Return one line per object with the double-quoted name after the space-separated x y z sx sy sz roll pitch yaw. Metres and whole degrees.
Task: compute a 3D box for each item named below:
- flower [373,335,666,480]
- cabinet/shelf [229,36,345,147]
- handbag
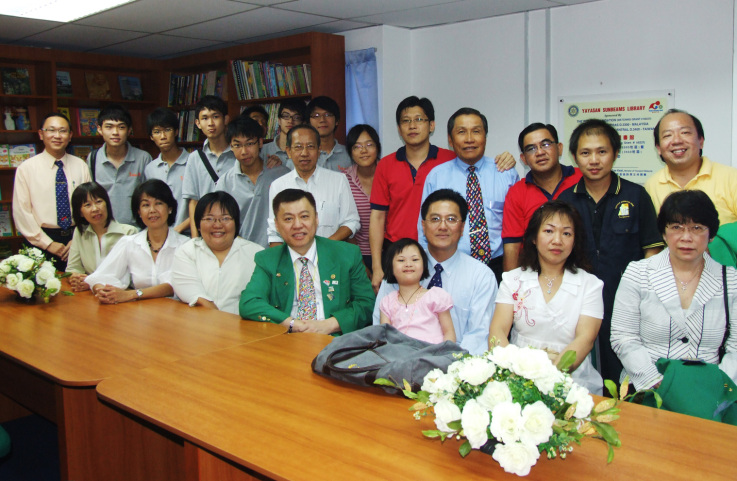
0.568 0.620 2.122 0.612 0.275 0.532 4 6 11 "flower"
-0.808 -1.580 5.938 1.557 1.337 0.517 0 3 43 "cabinet/shelf"
0.071 0.576 2.722 0.365 0.156 0.480 -9 6 -42 "handbag"
